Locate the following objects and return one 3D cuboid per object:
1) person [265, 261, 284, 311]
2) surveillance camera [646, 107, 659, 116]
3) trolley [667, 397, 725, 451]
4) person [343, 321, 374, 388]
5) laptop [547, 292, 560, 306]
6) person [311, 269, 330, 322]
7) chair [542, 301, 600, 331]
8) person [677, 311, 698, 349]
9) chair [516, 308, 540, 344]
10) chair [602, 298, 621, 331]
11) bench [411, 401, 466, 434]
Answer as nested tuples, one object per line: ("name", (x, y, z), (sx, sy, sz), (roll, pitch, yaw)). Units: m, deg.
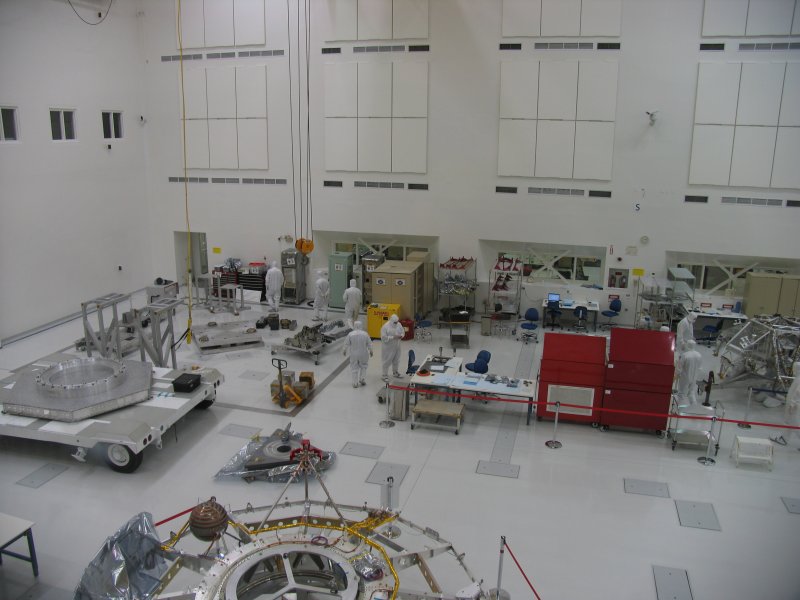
("person", (-4.676, -0.584, 21.570), (0.596, 1.826, 1.105), (-1, 12, -13))
("surveillance camera", (8.192, -6.088, 18.810), (0.353, 0.200, 0.072), (4, 12, 10))
("trolley", (6.978, 2.973, 13.648), (1.238, 1.383, 1.078), (2, 13, 13))
("person", (-1.138, 1.418, 15.800), (0.683, 1.918, 0.959), (0, 11, -4))
("laptop", (5.229, -0.025, 19.756), (0.349, 0.400, 0.205), (-3, -12, 9))
("person", (-2.822, -0.213, 20.497), (0.481, 1.811, 1.177), (-1, 12, -9))
("chair", (5.940, 0.457, 20.191), (1.965, 1.037, 1.467), (5, 12, 16))
("person", (8.456, 0.868, 17.077), (0.643, 0.954, 0.364), (8, 23, 43))
("chair", (4.327, 0.910, 19.513), (0.711, 1.257, 0.763), (8, 21, 23))
("chair", (7.276, 0.441, 19.910), (0.577, 1.060, 0.991), (7, 13, 26))
("bench", (0.875, 2.786, 14.127), (0.826, 0.435, 0.828), (3, 13, 16))
